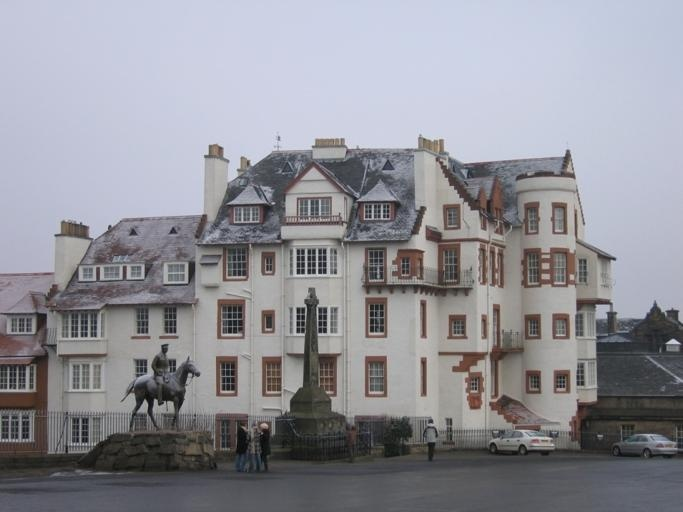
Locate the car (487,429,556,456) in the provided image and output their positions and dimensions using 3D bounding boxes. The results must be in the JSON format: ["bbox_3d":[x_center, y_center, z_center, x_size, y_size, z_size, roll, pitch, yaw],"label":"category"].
[{"bbox_3d":[12.090,12.853,113.422,3.826,1.261,1.874,-2,-5,36],"label":"car"}]

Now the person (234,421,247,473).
[{"bbox_3d":[-5.754,10.976,94.735,0.640,2.861,0.923,0,-11,-11],"label":"person"}]

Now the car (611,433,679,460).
[{"bbox_3d":[21.007,13.097,113.670,4.014,1.347,1.811,-1,-3,42],"label":"car"}]
